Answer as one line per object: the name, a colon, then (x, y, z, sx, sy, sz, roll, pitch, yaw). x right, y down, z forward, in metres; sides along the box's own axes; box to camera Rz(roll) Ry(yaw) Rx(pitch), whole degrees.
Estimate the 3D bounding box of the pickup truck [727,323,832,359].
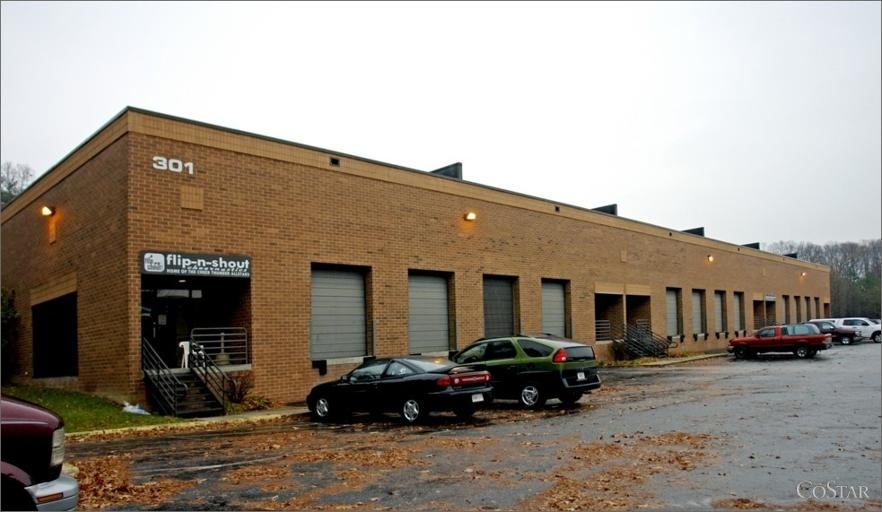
pickup truck: (19.852, 4.979, 38.977, 5.276, 1.554, 2.363, -4, -8, 32)
